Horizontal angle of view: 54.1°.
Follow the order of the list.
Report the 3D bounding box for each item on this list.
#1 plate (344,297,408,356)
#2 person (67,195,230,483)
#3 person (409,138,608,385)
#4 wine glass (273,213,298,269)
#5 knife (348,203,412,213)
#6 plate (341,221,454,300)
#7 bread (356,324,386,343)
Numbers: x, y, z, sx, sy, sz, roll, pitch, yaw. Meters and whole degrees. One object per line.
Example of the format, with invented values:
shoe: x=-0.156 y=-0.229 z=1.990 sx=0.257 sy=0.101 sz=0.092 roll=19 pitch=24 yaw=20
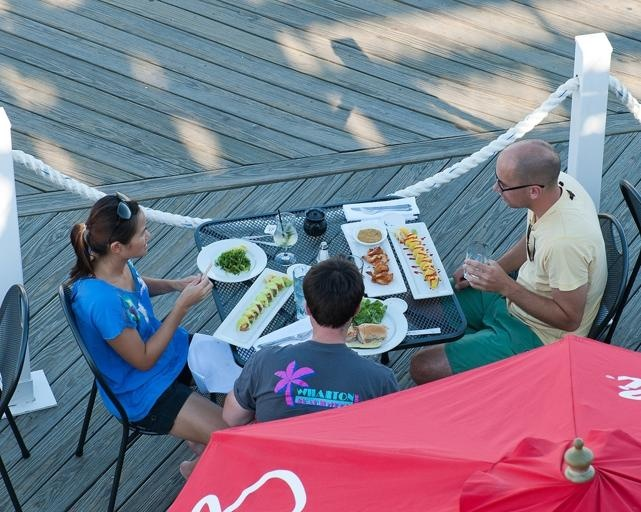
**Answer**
plate: x=0.254 y=0.263 z=2.468 sx=0.241 sy=0.209 sz=0.025 roll=-27 pitch=-50 yaw=-1
person: x=-0.579 y=0.338 z=2.620 sx=0.732 sy=1.194 sz=0.641 roll=-16 pitch=43 yaw=-33
person: x=0.822 y=0.201 z=2.949 sx=0.979 sy=1.401 sz=0.597 roll=-4 pitch=28 yaw=13
wine glass: x=-0.162 y=-0.059 z=2.789 sx=0.108 sy=0.094 sz=0.260 roll=8 pitch=-38 yaw=5
knife: x=0.274 y=-0.225 z=3.015 sx=0.317 sy=0.089 sz=0.033 roll=-2 pitch=-35 yaw=-7
plate: x=0.328 y=0.020 z=2.751 sx=0.334 sy=0.422 sz=0.055 roll=-6 pitch=-46 yaw=-13
bread: x=0.188 y=0.294 z=2.405 sx=0.097 sy=0.063 sz=0.036 roll=-2 pitch=-31 yaw=0
